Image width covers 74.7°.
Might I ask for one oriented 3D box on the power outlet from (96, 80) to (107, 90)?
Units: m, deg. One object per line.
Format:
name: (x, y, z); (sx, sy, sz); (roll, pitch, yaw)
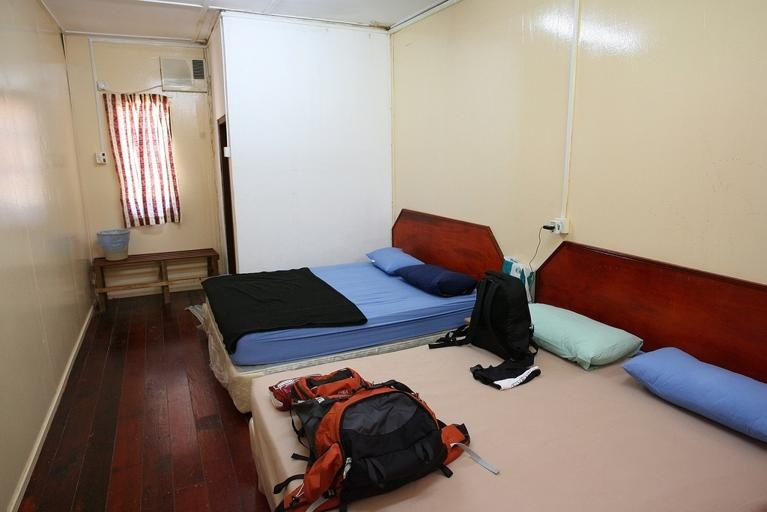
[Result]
power outlet: (-3.336, -2.008, 5.944); (0.104, 0.108, 0.025); (13, -3, -14)

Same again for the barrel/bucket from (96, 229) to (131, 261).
barrel/bucket: (-3.211, -0.147, 6.029); (0.385, 0.329, 0.358); (2, 9, 0)

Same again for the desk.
desk: (-2.814, 0.256, 6.383); (1.402, 0.529, 0.422); (-7, 16, -29)

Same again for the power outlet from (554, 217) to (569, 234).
power outlet: (1.437, -0.239, 4.140); (0.110, 0.146, 0.150); (0, 8, -8)

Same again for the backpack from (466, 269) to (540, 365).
backpack: (0.897, 0.458, 3.926); (0.380, 0.672, 0.677); (-8, 17, -33)

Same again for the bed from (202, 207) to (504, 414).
bed: (-0.185, 0.274, 4.664); (2.127, 1.076, 2.146); (-10, 22, -25)
